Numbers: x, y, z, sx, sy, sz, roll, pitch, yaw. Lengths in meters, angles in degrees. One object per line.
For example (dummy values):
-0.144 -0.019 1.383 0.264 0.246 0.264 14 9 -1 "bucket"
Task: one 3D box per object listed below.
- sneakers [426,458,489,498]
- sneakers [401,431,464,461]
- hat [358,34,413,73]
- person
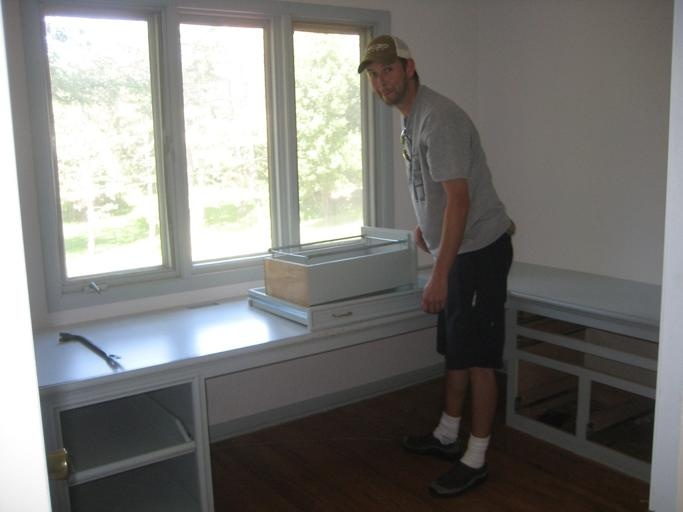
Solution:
0.519 0.967 2.447 0.270 0.104 0.109 -9 3 -28 "sneakers"
0.449 0.905 2.702 0.278 0.116 0.112 8 2 25 "sneakers"
0.195 -0.841 2.323 0.210 0.117 0.148 -32 24 -35 "hat"
0.424 0.055 2.388 0.568 1.955 0.542 5 17 26 "person"
